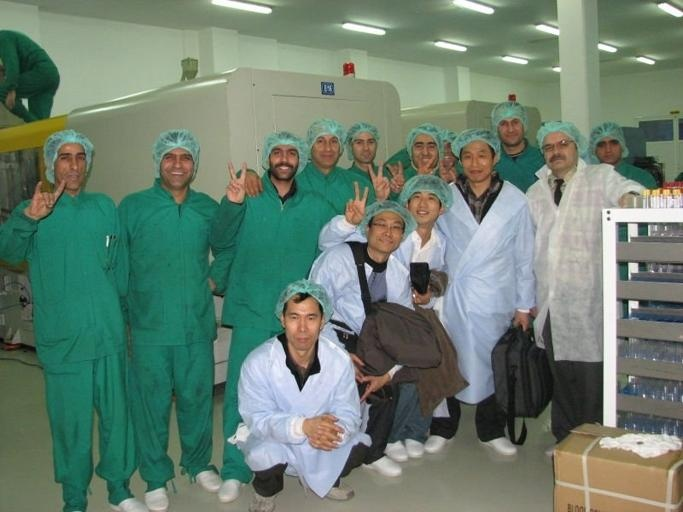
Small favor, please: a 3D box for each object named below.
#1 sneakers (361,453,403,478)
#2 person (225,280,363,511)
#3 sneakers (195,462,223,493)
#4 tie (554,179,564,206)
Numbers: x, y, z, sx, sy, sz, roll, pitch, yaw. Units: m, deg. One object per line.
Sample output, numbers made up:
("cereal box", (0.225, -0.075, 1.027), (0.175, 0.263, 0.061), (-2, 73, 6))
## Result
("sneakers", (0.295, 1.446, 4.226), (0.221, 0.089, 0.111), (-1, 3, 36))
("person", (-0.274, 0.904, 3.823), (0.875, 1.435, 0.410), (-2, 10, 1))
("sneakers", (-0.895, 1.505, 4.104), (0.100, 0.107, 0.249), (-3, -4, -27))
("tie", (1.547, -0.431, 4.306), (0.036, 0.167, 0.089), (7, -1, -11))
